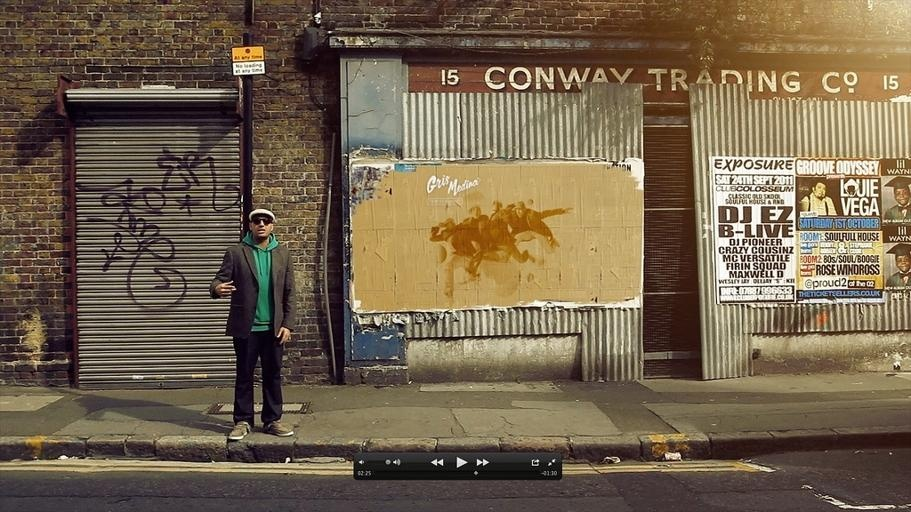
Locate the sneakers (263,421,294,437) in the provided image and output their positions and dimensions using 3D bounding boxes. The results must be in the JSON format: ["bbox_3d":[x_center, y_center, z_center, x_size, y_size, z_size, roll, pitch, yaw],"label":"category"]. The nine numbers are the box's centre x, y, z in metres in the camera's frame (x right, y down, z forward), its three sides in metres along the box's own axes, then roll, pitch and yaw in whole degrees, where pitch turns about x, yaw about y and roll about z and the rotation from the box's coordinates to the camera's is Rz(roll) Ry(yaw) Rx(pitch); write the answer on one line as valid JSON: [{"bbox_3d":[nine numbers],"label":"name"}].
[{"bbox_3d":[-2.897,2.835,19.468,0.564,0.181,0.213,2,-3,6],"label":"sneakers"}]
